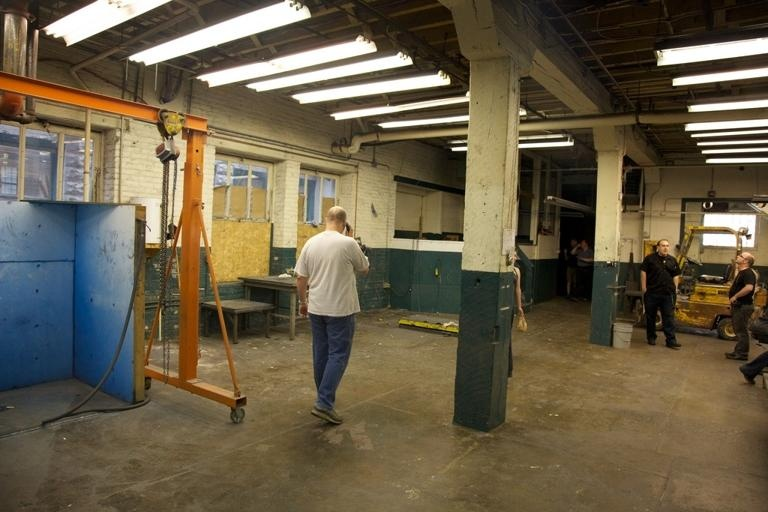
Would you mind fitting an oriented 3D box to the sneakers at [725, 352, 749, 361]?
[{"bbox_3d":[6.683,1.901,10.620,0.375,0.154,0.137,6,3,39],"label":"sneakers"}]

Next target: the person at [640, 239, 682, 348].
[{"bbox_3d":[5.706,0.749,11.524,0.804,2.153,0.796,5,3,25],"label":"person"}]

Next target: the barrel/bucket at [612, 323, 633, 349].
[{"bbox_3d":[4.783,1.591,11.205,0.406,0.485,0.273,3,3,0],"label":"barrel/bucket"}]

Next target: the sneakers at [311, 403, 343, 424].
[{"bbox_3d":[-0.729,2.060,7.330,0.462,0.205,0.194,25,-2,-8],"label":"sneakers"}]

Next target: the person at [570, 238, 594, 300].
[{"bbox_3d":[6.398,0.433,18.049,0.632,1.848,1.132,4,3,18],"label":"person"}]

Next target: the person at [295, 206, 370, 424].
[{"bbox_3d":[-0.705,0.761,7.333,0.719,2.830,0.651,1,4,-35],"label":"person"}]

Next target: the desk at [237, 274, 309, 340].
[{"bbox_3d":[-2.079,1.031,11.532,1.371,1.038,1.526,6,2,5],"label":"desk"}]

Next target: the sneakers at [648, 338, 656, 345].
[{"bbox_3d":[5.503,1.765,11.514,0.120,0.147,0.151,3,-10,-5],"label":"sneakers"}]

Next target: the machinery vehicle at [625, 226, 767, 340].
[{"bbox_3d":[7.145,0.647,12.585,2.737,2.315,1.259,-1,-3,34],"label":"machinery vehicle"}]

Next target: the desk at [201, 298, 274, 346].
[{"bbox_3d":[-2.686,1.222,10.824,1.457,0.714,1.174,0,4,-43],"label":"desk"}]
